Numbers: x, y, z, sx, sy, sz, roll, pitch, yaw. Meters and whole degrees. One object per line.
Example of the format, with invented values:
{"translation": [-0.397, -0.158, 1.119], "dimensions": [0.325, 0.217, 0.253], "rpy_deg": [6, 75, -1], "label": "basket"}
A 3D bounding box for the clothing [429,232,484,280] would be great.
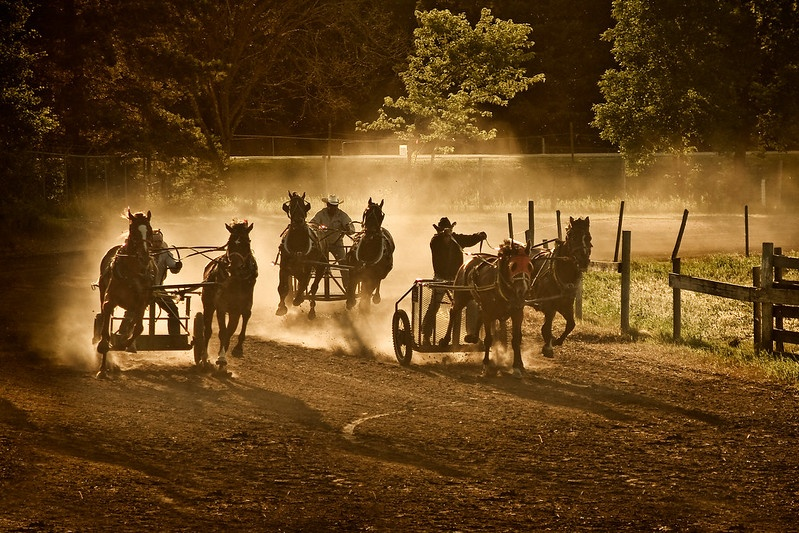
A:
{"translation": [1.402, -0.492, 28.052], "dimensions": [0.978, 1.210, 1.434], "rpy_deg": [10, -15, -17], "label": "clothing"}

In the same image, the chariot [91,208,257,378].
{"translation": [-5.415, 0.749, 27.528], "dimensions": [3.291, 2.972, 4.274], "rpy_deg": [4, -30, -13], "label": "chariot"}

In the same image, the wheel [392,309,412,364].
{"translation": [0.040, 1.715, 27.797], "dimensions": [0.289, 1.176, 1.217], "rpy_deg": [-1, 7, -24], "label": "wheel"}

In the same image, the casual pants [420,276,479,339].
{"translation": [1.216, 1.023, 27.947], "dimensions": [1.592, 2.018, 1.047], "rpy_deg": [-4, 5, 0], "label": "casual pants"}

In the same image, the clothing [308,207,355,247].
{"translation": [-1.911, -1.112, 32.261], "dimensions": [1.304, 1.025, 1.388], "rpy_deg": [2, -5, -6], "label": "clothing"}

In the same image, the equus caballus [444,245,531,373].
{"translation": [2.118, 0.925, 26.682], "dimensions": [2.113, 2.913, 0.918], "rpy_deg": [2, 0, 40], "label": "equus caballus"}

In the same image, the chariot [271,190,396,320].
{"translation": [-1.708, -0.427, 31.467], "dimensions": [2.704, 2.118, 3.906], "rpy_deg": [-2, -20, -3], "label": "chariot"}

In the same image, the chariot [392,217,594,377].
{"translation": [1.808, 0.991, 27.570], "dimensions": [2.614, 2.540, 5.368], "rpy_deg": [-4, 0, -26], "label": "chariot"}

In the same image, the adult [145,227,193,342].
{"translation": [-5.545, 0.305, 27.350], "dimensions": [0.772, 2.797, 1.652], "rpy_deg": [-3, -11, -10], "label": "adult"}

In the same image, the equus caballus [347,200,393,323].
{"translation": [-0.812, -0.274, 30.883], "dimensions": [1.190, 2.900, 1.962], "rpy_deg": [2, 0, -2], "label": "equus caballus"}

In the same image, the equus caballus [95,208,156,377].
{"translation": [-6.242, 0.624, 26.515], "dimensions": [1.285, 3.859, 1.233], "rpy_deg": [2, 0, -3], "label": "equus caballus"}
